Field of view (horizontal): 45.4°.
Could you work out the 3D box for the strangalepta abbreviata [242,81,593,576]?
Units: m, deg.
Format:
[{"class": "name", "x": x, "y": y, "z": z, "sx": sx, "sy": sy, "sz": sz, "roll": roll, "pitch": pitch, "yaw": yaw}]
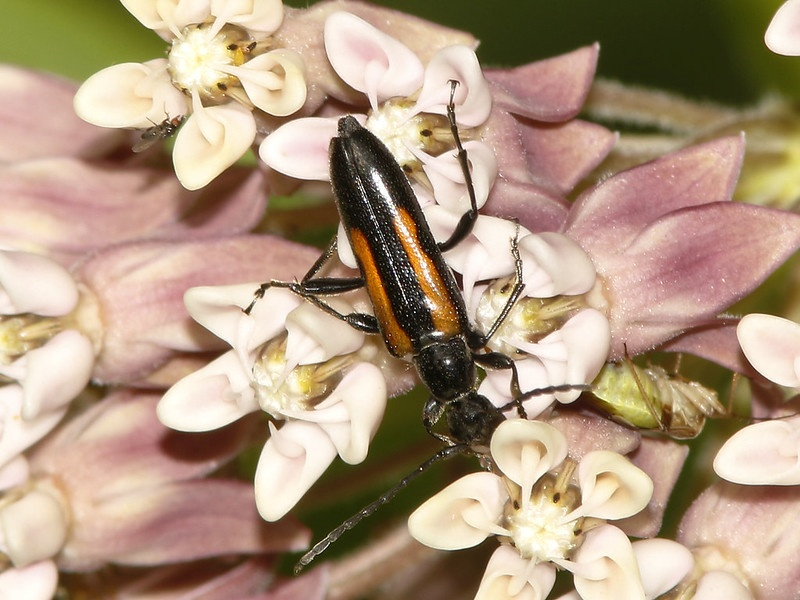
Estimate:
[{"class": "strangalepta abbreviata", "x": 0.068, "y": 0.029, "z": 2.066, "sx": 0.628, "sy": 0.920, "sz": 0.798, "roll": 2, "pitch": 30, "yaw": 19}]
